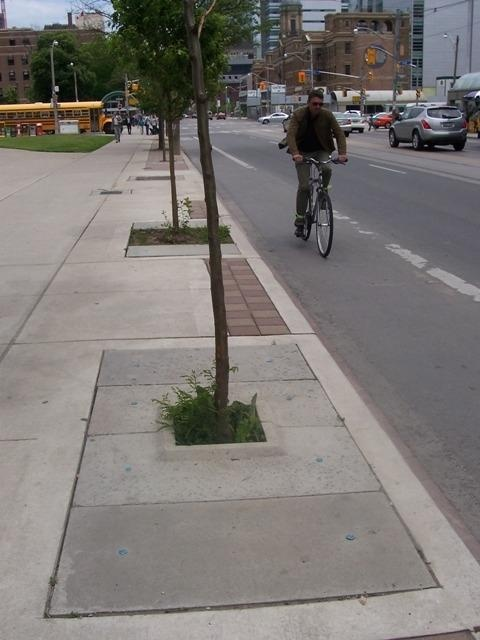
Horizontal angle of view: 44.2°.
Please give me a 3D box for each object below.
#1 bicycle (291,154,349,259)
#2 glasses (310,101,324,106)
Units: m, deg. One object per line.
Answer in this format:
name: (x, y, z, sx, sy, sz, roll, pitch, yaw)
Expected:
bicycle: (1.171, -1.700, 8.993, 0.596, 1.149, 1.729, -1, 22, -4)
glasses: (1.053, -2.932, 8.011, 0.185, 0.078, 0.210, -1, 14, -9)
